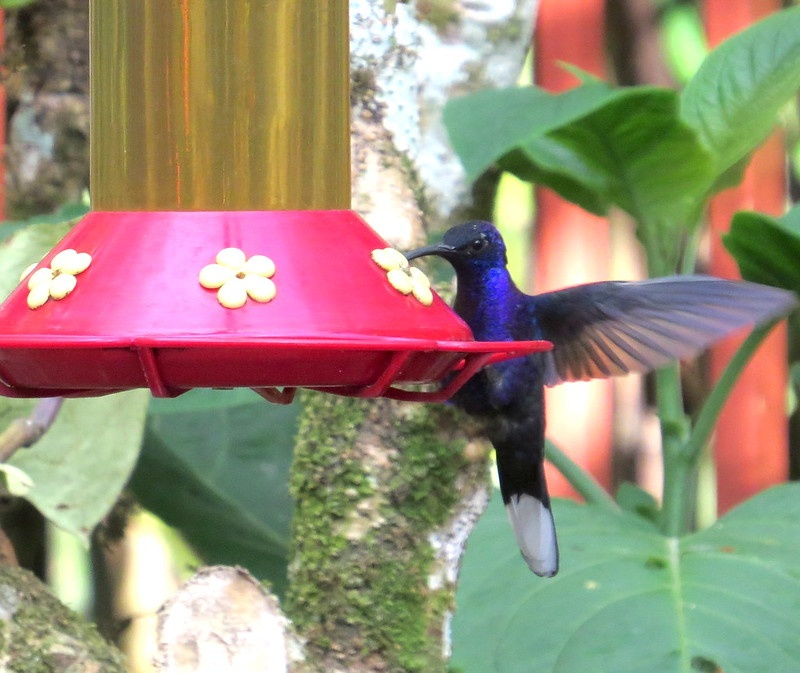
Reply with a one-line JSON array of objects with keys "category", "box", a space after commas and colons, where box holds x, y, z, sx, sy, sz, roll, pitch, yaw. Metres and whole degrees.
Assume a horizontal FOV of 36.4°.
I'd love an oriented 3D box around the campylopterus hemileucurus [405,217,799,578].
[{"category": "campylopterus hemileucurus", "box": [0.312, 0.021, 1.960, 0.545, 0.698, 0.281, 44, 73, -24]}]
